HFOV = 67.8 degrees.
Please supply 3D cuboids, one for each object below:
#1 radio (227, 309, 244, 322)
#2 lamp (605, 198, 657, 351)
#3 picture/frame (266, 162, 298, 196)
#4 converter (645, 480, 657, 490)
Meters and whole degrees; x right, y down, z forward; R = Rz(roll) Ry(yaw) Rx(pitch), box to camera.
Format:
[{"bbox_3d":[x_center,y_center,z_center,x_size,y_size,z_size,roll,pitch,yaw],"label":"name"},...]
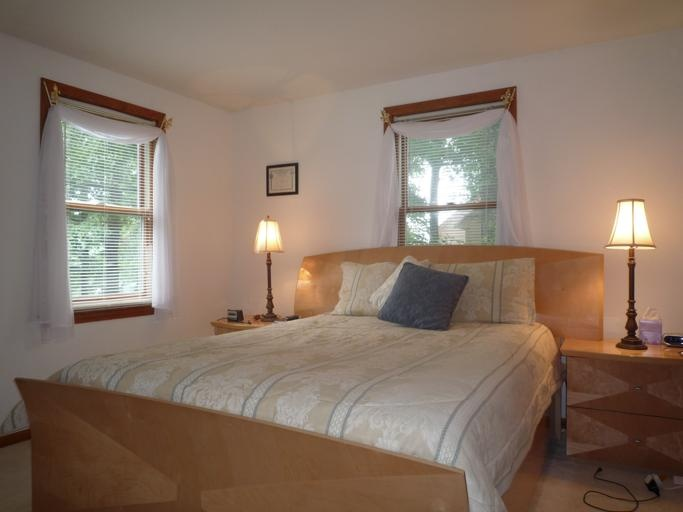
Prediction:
[{"bbox_3d":[-1.025,0.605,4.935,0.169,0.129,0.101,-3,-8,32],"label":"radio"},{"bbox_3d":[2.068,0.113,3.622,0.294,1.025,0.540,0,1,30],"label":"lamp"},{"bbox_3d":[-0.594,-0.797,5.247,0.342,0.305,0.027,1,3,34],"label":"picture/frame"},{"bbox_3d":[1.925,1.421,3.135,0.045,0.033,0.045,9,14,35],"label":"converter"}]
